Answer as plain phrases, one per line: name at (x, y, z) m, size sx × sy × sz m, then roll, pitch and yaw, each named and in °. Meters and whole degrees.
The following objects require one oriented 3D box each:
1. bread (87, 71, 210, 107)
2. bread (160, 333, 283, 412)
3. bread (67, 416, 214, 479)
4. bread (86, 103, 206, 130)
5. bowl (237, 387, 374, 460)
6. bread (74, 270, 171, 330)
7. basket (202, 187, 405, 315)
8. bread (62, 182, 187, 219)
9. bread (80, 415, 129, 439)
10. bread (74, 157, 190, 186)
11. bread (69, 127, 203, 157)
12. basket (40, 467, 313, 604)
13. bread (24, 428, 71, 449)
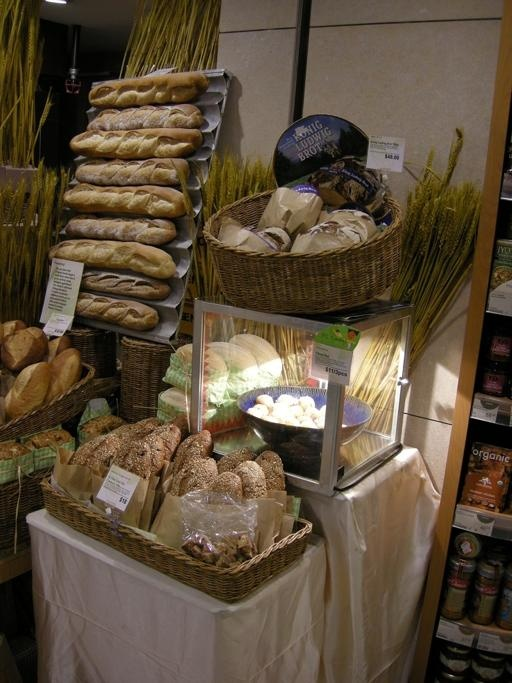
bread at (-0.450, -0.999, 2.109) m, size 0.634 × 0.139 × 0.098 m, roll 15°, pitch 13°, yaw 34°
bread at (-0.059, 0.080, 1.315) m, size 0.229 × 0.087 × 0.204 m, roll -26°, pitch 42°, yaw -33°
bread at (-0.279, 0.218, 1.288) m, size 0.158 × 0.070 × 0.214 m, roll 0°, pitch 10°, yaw 29°
bread at (-0.442, -0.878, 2.093) m, size 0.578 × 0.113 × 0.131 m, roll 15°, pitch 13°, yaw 35°
bowl at (0.081, 0.195, 1.217) m, size 0.212 × 0.075 × 0.210 m, roll 2°, pitch 10°, yaw 0°
bread at (-0.520, -0.155, 1.987) m, size 0.417 × 0.195 × 0.106 m, roll 14°, pitch 13°, yaw 32°
basket at (0.093, -0.211, 1.231) m, size 0.445 × 0.288 × 0.372 m, roll 12°, pitch 12°, yaw 23°
bread at (-0.515, -0.546, 2.036) m, size 0.635 × 0.116 × 0.079 m, roll 14°, pitch 13°, yaw 33°
bread at (-0.524, 0.284, 1.756) m, size 0.103 × 0.048 × 0.133 m, roll 0°, pitch 3°, yaw -2°
bread at (-0.485, -0.652, 2.049) m, size 0.674 × 0.116 × 0.093 m, roll 15°, pitch 13°, yaw 37°
bread at (-0.483, -0.767, 2.070) m, size 0.630 × 0.114 × 0.098 m, roll 14°, pitch 13°, yaw 32°
basket at (-0.185, 0.410, 1.072) m, size 0.394 × 0.068 × 0.216 m, roll 7°, pitch 7°, yaw 40°
bread at (-0.632, 0.291, 1.612) m, size 0.099 × 0.047 × 0.136 m, roll 5°, pitch 4°, yaw 25°
